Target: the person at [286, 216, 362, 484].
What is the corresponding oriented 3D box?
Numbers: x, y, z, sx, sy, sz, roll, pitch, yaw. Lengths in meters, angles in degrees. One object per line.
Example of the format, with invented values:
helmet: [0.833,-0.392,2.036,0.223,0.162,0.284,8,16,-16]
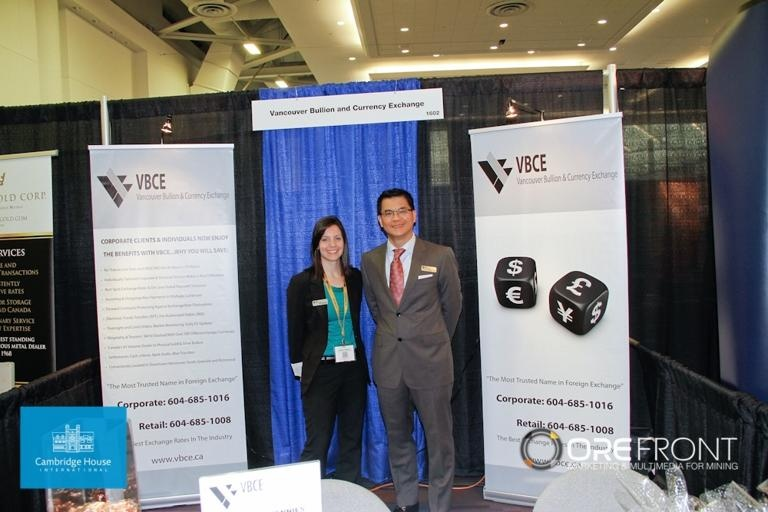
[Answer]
person: [-0.451,0.756,4.793,0.637,2.129,0.272,-1,-1,-4]
